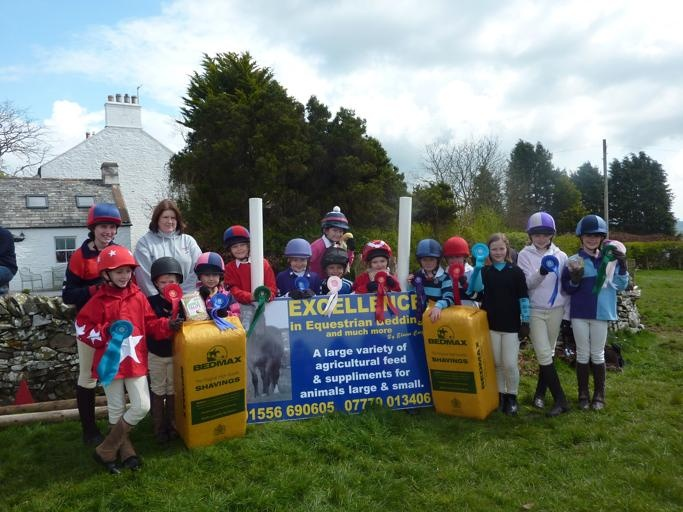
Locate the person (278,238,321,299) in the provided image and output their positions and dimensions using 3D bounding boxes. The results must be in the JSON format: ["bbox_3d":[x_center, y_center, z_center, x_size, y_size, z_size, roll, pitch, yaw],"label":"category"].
[{"bbox_3d":[-0.616,0.183,8.254,0.670,1.125,0.692,0,-6,-9],"label":"person"}]

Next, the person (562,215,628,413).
[{"bbox_3d":[3.392,0.748,8.023,0.799,2.213,0.424,-1,-1,18],"label":"person"}]

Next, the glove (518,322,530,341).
[{"bbox_3d":[2.388,0.991,7.852,0.140,0.182,0.210,-2,-1,17],"label":"glove"}]

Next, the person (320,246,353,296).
[{"bbox_3d":[-0.098,0.231,8.302,0.502,0.903,0.549,1,-15,-8],"label":"person"}]

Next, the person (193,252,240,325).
[{"bbox_3d":[-1.581,0.364,7.617,0.524,0.806,0.752,-1,-1,-26],"label":"person"}]
